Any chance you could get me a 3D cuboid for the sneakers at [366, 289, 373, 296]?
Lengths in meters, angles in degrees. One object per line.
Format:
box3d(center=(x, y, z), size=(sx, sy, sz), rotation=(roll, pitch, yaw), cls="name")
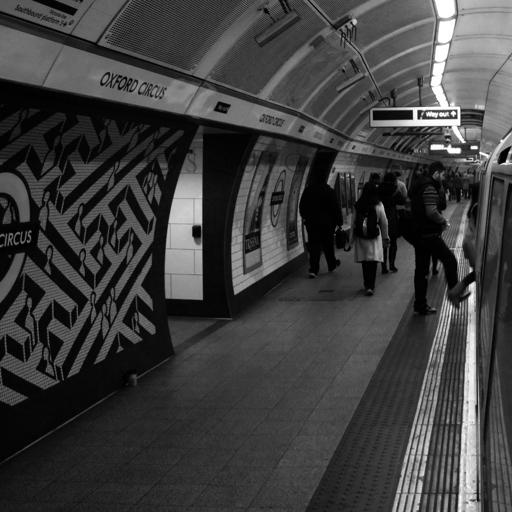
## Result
box3d(center=(2.763, 0.876, 9.048), size=(0.127, 0.145, 0.134), rotation=(0, -6, -4), cls="sneakers")
